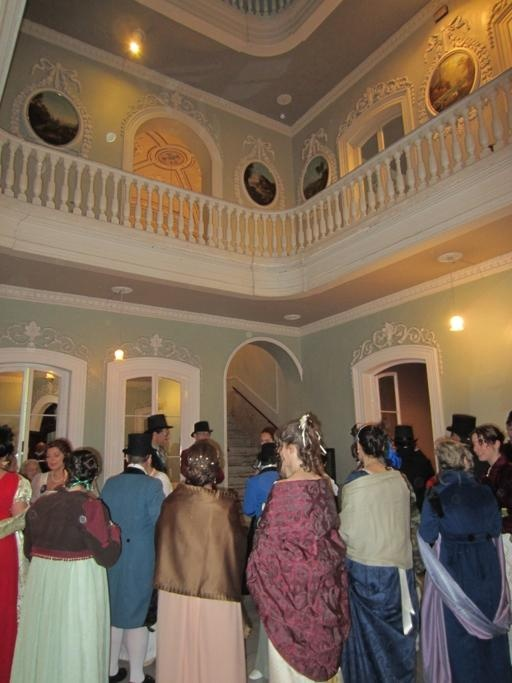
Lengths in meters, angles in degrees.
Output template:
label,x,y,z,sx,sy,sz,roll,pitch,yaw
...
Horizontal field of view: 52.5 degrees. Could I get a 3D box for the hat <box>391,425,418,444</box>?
label,x,y,z,sx,sy,sz,roll,pitch,yaw
hat,1.463,0.922,5.150,0.178,0.118,0.214,0,-7,2

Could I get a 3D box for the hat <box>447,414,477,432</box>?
label,x,y,z,sx,sy,sz,roll,pitch,yaw
hat,2.170,0.852,5.416,0.320,0.168,0.309,6,-7,-8

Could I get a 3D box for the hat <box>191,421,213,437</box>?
label,x,y,z,sx,sy,sz,roll,pitch,yaw
hat,-0.623,1.038,6.163,0.216,0.147,0.287,4,-15,-26

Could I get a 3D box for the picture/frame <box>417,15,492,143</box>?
label,x,y,z,sx,sy,sz,roll,pitch,yaw
picture/frame,2.440,-3.373,6.439,0.051,1.231,0.885,9,-18,-43

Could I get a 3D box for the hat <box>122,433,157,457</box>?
label,x,y,z,sx,sy,sz,roll,pitch,yaw
hat,-0.814,0.687,3.575,0.188,0.113,0.184,11,10,44

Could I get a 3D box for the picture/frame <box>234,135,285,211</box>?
label,x,y,z,sx,sy,sz,roll,pitch,yaw
picture/frame,0.063,-2.879,8.915,0.987,1.279,0.065,7,-15,-32

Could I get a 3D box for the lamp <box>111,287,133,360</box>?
label,x,y,z,sx,sy,sz,roll,pitch,yaw
lamp,-1.712,-0.186,6.596,0.254,0.859,0.816,2,-13,-14

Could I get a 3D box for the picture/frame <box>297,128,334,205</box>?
label,x,y,z,sx,sy,sz,roll,pitch,yaw
picture/frame,1.005,-3.016,8.820,0.075,1.153,0.983,7,-15,-32
